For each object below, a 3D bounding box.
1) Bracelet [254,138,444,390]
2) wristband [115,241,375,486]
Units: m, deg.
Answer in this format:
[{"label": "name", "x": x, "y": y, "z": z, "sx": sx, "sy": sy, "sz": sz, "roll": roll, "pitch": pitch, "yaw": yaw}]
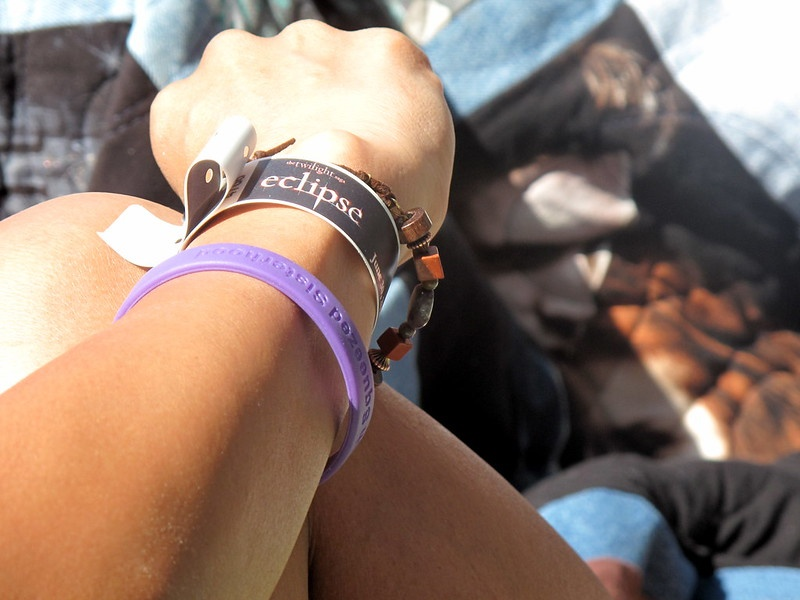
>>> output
[{"label": "Bracelet", "x": -0.041, "y": -0.034, "z": 0.806, "sx": 0.179, "sy": 0.052, "sz": 0.233, "roll": -32, "pitch": 95, "yaw": -26}, {"label": "wristband", "x": -0.119, "y": 0.038, "z": 0.667, "sx": 0.213, "sy": 0.145, "sz": 0.110, "roll": 27, "pitch": 64, "yaw": 11}]
